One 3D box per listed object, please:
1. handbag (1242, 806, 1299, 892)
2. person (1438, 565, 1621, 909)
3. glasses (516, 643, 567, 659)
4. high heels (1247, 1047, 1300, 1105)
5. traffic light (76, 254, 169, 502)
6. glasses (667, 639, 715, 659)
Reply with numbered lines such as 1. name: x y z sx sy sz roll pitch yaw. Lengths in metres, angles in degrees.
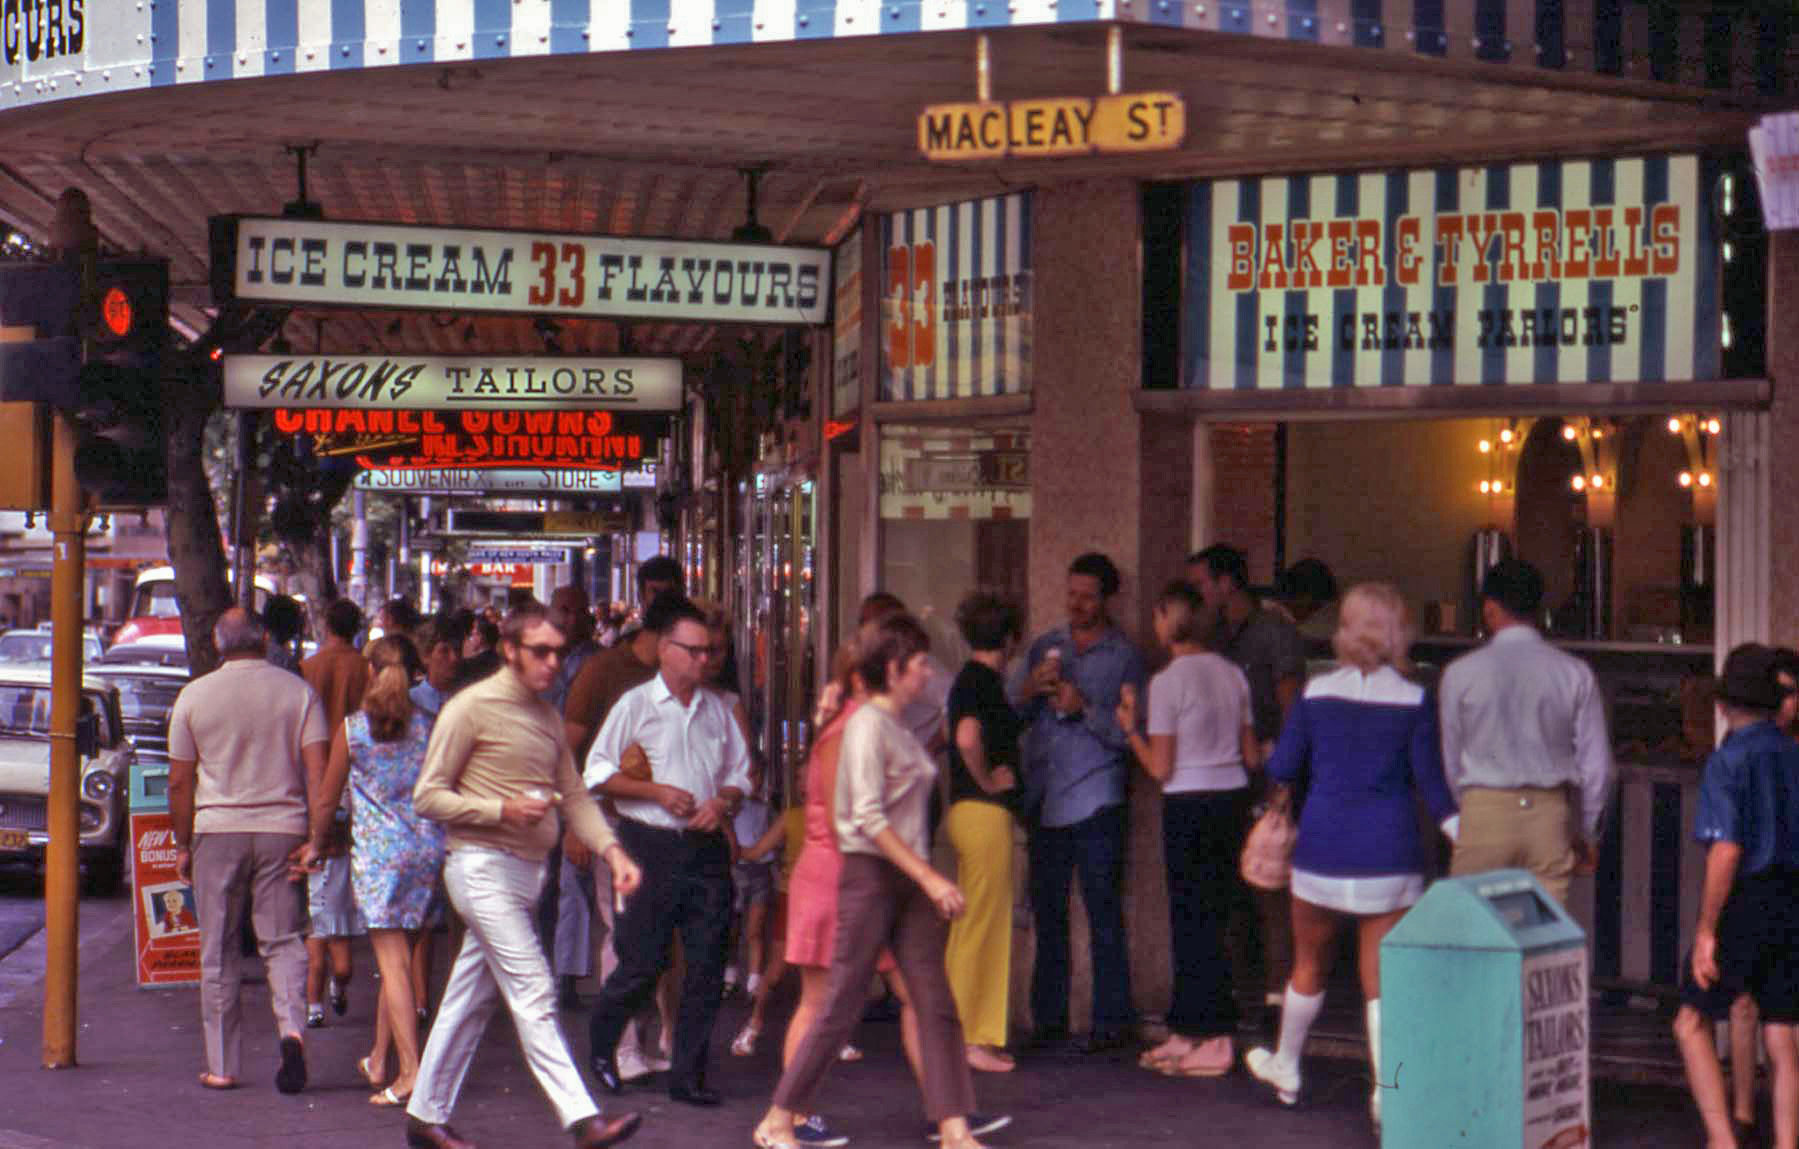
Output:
1. handbag: 1.979 1.488 14.865 0.276 0.437 0.170 3 0 6
2. person: 3.241 0.817 14.351 0.882 1.773 0.371 -1 -2 14
3. glasses: -1.787 0.398 13.970 0.154 0.062 0.374 -1 -2 14
4. high heels: 1.971 2.681 14.858 0.143 0.183 0.397 -17 28 -13
5. traffic light: -4.401 -1.132 15.533 0.480 1.276 0.400 0 -2 -17
6. glasses: -1.090 0.407 14.785 0.124 0.078 0.285 -2 -2 29
